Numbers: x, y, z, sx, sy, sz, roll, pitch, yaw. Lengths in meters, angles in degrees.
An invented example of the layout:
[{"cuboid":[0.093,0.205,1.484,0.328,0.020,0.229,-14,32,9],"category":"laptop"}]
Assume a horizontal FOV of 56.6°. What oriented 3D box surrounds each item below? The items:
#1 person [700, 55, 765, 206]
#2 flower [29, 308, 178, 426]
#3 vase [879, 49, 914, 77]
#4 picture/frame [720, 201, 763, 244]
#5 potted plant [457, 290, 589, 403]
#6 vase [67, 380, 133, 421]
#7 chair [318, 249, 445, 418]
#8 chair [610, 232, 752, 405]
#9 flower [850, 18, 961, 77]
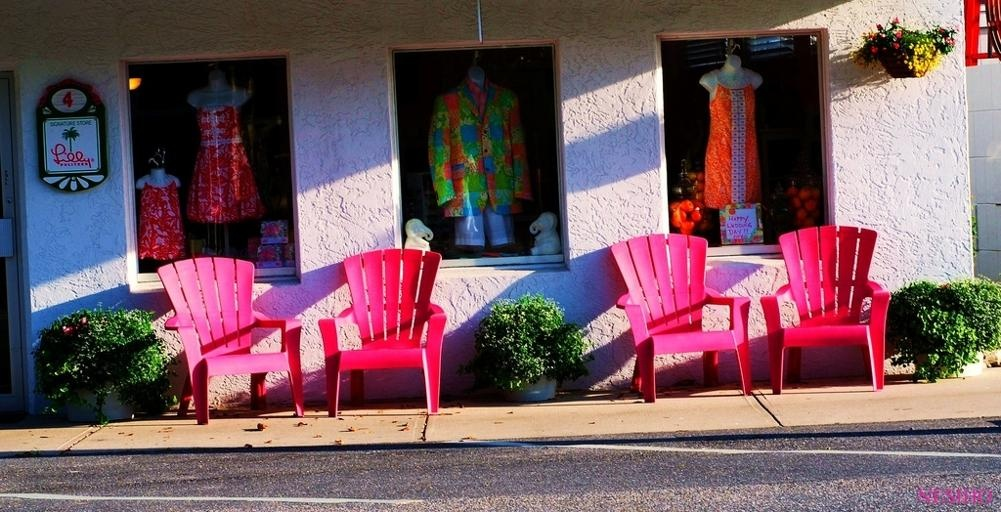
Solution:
[{"cuboid":[2.339,-1.249,9.354,0.624,1.447,0.176,-4,-2,-9],"category":"person"},{"cuboid":[-3.695,1.017,8.664,1.153,1.045,0.385,-4,-2,-22],"category":"flower"},{"cuboid":[3.815,-1.827,8.929,0.283,0.199,0.236,-1,1,-2],"category":"vase"},{"cuboid":[2.446,-0.320,9.391,0.447,0.448,0.063,0,0,8],"category":"picture/frame"},{"cuboid":[0.237,0.875,9.136,1.100,0.841,1.057,1,-4,-4],"category":"potted plant"},{"cuboid":[-3.785,1.372,8.709,0.399,0.160,0.399,-2,-2,26],"category":"vase"},{"cuboid":[-1.093,0.680,9.221,1.658,1.885,1.429,-1,0,-1],"category":"chair"},{"cuboid":[1.668,0.562,9.253,1.605,1.891,1.491,-3,0,-12],"category":"chair"},{"cuboid":[3.892,-1.972,8.922,0.708,0.371,0.684,-8,9,-30],"category":"flower"}]
